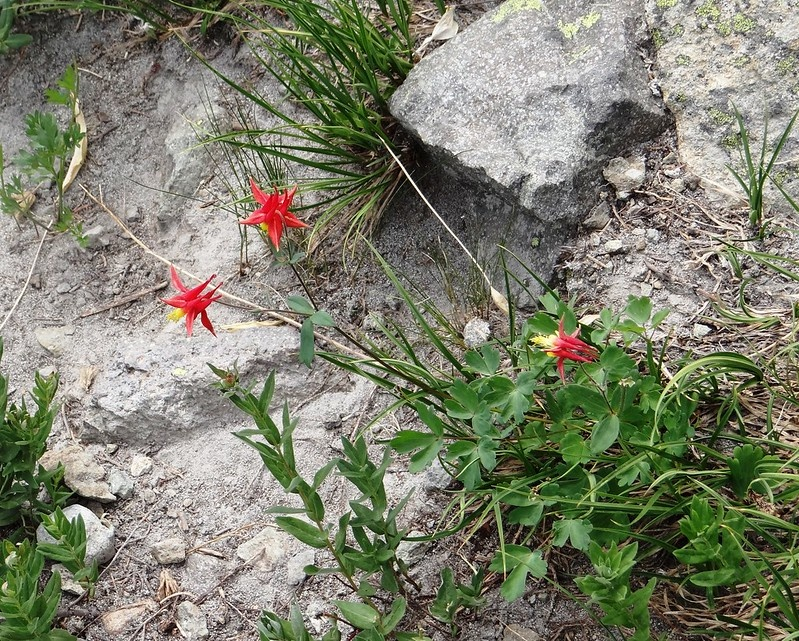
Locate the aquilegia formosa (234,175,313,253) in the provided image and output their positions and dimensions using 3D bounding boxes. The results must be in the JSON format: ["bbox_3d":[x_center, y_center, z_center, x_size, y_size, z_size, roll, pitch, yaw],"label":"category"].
[{"bbox_3d":[-0.462,-0.406,3.474,0.199,0.219,0.185,11,32,-7],"label":"aquilegia formosa"}]

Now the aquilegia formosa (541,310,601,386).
[{"bbox_3d":[0.547,0.091,3.296,0.225,0.140,0.215,9,33,32],"label":"aquilegia formosa"}]

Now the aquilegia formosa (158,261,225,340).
[{"bbox_3d":[-0.750,-0.026,3.563,0.233,0.248,0.117,-18,80,24],"label":"aquilegia formosa"}]
